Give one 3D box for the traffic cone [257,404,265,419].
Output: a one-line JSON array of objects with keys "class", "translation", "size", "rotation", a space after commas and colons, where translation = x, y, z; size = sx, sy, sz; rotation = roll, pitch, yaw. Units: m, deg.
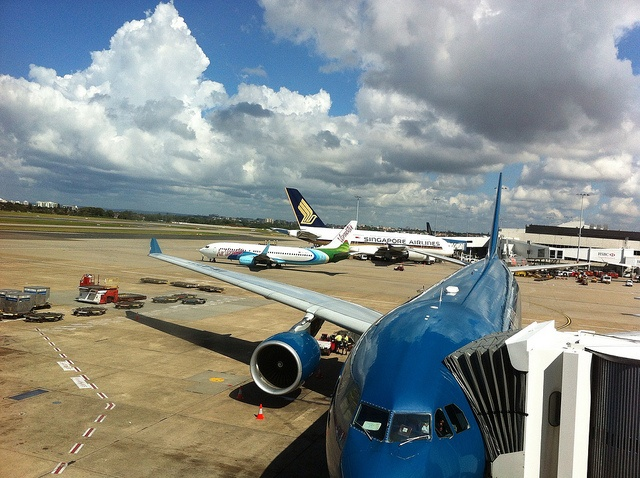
[{"class": "traffic cone", "translation": [-2.134, 6.375, 15.002], "size": [0.305, 0.400, 0.312], "rotation": [1, -7, 5]}]
